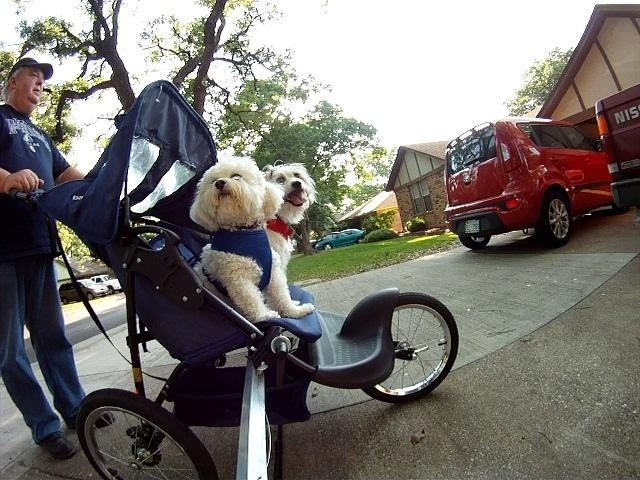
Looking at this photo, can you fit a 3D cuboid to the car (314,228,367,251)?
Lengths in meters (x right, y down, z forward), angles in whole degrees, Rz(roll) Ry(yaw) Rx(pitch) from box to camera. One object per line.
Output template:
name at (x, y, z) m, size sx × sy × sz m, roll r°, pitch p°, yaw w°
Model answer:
car at (1.511, -0.026, 31.767) m, size 4.009 × 1.234 × 1.727 m, roll -10°, pitch 5°, yaw 25°

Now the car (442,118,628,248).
car at (3.990, -1.083, 7.265) m, size 3.702 × 1.969 × 1.930 m, roll -13°, pitch 2°, yaw -32°

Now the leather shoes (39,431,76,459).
leather shoes at (-2.019, 1.548, 3.064) m, size 0.367 × 0.149 × 0.125 m, roll 3°, pitch 13°, yaw 21°
